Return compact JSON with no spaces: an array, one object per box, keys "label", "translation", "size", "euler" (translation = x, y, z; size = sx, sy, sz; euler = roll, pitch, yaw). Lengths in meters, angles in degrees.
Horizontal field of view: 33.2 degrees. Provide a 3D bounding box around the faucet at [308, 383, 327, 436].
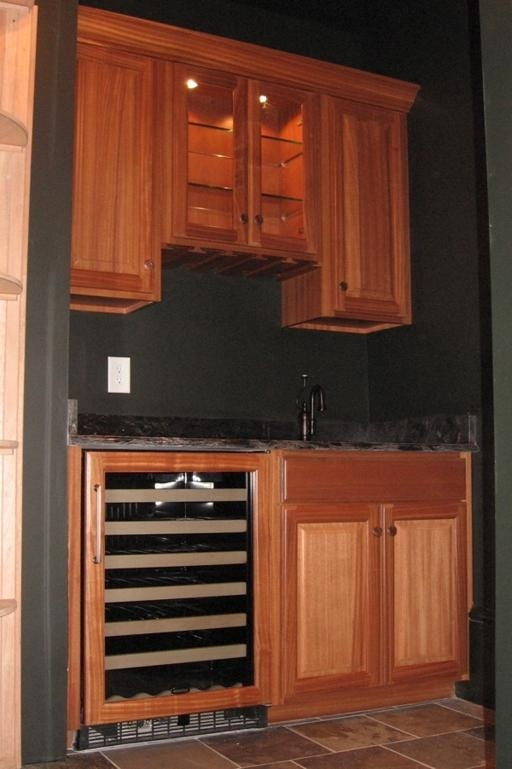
[{"label":"faucet","translation":[0.230,0.106,3.321],"size":[0.061,0.202,0.227],"euler":[2,-3,5]}]
